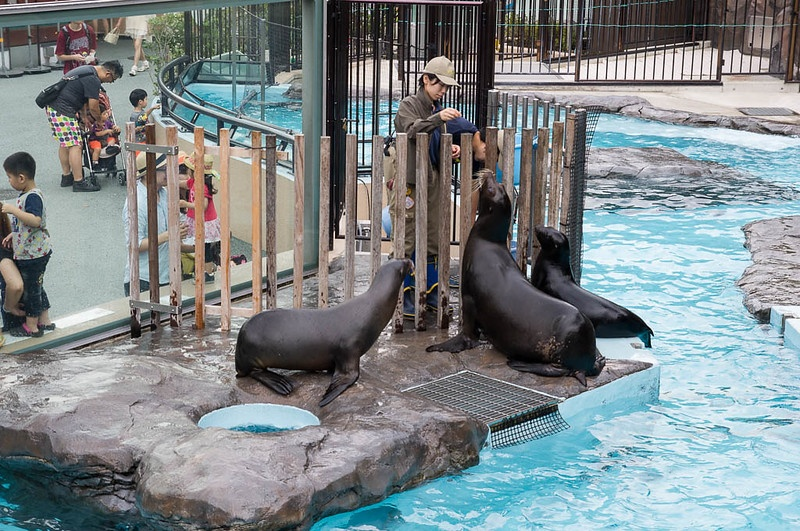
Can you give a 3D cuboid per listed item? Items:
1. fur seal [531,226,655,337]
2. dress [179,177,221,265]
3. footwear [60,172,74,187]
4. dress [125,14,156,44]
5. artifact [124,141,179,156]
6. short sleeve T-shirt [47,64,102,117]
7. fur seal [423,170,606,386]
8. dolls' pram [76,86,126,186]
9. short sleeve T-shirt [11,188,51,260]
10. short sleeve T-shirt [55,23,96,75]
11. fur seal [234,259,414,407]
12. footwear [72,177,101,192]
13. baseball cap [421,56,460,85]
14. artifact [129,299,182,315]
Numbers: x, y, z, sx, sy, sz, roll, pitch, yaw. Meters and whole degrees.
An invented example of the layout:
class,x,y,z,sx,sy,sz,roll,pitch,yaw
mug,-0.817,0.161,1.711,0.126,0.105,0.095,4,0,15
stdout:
class,x,y,z,sx,sy,sz,roll,pitch,yaw
fur seal,1.918,0.185,9.140,1.455,0.907,0.720,22,9,8
dress,-2.043,-0.441,9.203,0.429,0.915,0.389,-4,50,-15
footwear,-3.175,-0.799,8.668,0.063,0.096,0.161,6,14,13
dress,-2.557,-2.307,9.027,0.312,0.336,0.229,-7,23,-41
artifact,-2.395,-1.112,8.715,0.568,0.125,0.162,4,14,21
short sleeve T-shirt,-3.119,-1.657,8.640,0.398,0.381,0.224,24,-14,46
fur seal,1.199,0.172,8.761,1.861,1.292,1.700,27,15,40
dolls' pram,-2.916,-1.256,8.818,0.416,0.874,0.642,-10,28,-25
short sleeve T-shirt,-3.497,-0.403,8.620,0.370,0.637,0.528,-2,17,-30
short sleeve T-shirt,-3.054,-2.030,8.514,0.218,0.393,0.340,38,44,28
fur seal,-0.653,0.551,8.075,1.738,1.026,0.951,-3,17,1
footwear,-3.036,-0.763,8.782,0.206,0.081,0.096,-4,14,-18
baseball cap,0.384,-1.930,8.991,0.361,0.193,0.242,28,18,23
artifact,-2.409,0.401,8.898,0.620,0.136,0.123,6,15,7
